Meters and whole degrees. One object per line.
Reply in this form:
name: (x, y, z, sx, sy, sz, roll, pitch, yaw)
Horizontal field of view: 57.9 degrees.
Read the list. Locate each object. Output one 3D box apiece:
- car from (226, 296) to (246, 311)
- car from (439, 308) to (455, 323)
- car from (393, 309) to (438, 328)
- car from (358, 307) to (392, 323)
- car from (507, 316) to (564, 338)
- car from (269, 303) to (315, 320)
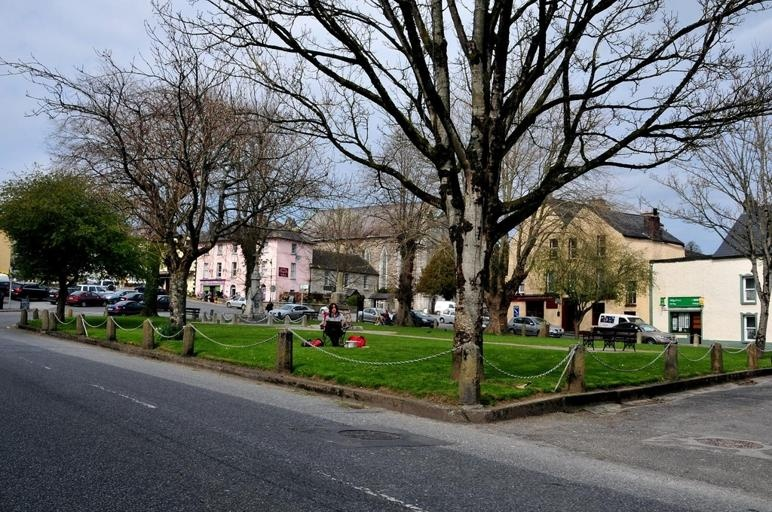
car: (-15.086, 4.731, 70.377, 2.698, 1.349, 1.505, 3, 0, 30)
car: (5.973, 5.860, 68.927, 1.312, 1.533, 2.401, 2, -7, 2)
car: (3.011, 4.902, 57.389, 1.719, 1.403, 2.835, 4, -9, -44)
car: (-0.902, 4.943, 59.415, 1.204, 0.938, 2.668, 1, -8, -37)
car: (10.743, 5.126, 51.239, 3.540, 1.438, 3.207, 1, -8, 7)
car: (-7.519, 4.159, 55.361, 1.680, 1.347, 3.645, -9, -14, 43)
